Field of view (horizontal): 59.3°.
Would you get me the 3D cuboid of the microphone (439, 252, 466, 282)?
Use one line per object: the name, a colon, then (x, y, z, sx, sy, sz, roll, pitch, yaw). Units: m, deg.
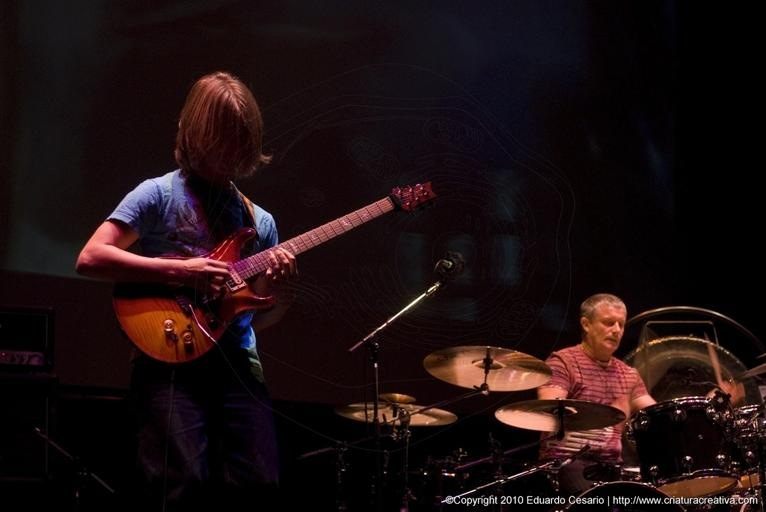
microphone: (0.279, 0.039, 2.668, 0.112, 0.118, 0.036, -2, -12, 3)

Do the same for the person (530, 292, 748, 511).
person: (1.406, 0.944, 4.132, 1.124, 1.430, 0.957, 24, -17, -39)

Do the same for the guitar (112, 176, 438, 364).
guitar: (-0.526, 0.115, 2.883, 1.273, 0.657, 0.198, -5, -12, 14)

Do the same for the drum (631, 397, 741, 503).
drum: (1.759, 1.092, 4.012, 0.596, 0.446, 0.585, -3, -31, -2)
